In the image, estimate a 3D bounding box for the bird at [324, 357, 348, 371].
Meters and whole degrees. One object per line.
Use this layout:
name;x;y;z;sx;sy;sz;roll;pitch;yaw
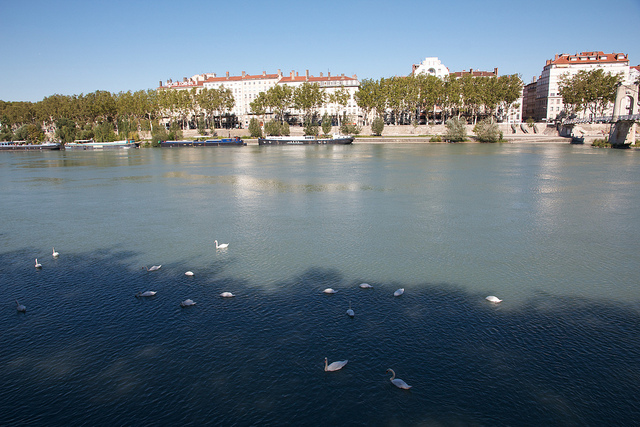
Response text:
bird;0.439;4.140;11.977;0.546;0.351;0.257;-13;22;-17

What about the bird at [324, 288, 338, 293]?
bird;0.410;2.703;15.364;0.473;0.112;0.206;-7;16;-21

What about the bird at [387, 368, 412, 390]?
bird;2.052;4.323;11.559;0.651;0.353;0.257;8;16;36

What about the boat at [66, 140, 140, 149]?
boat;-47.378;-15.393;97.631;12.774;1.511;3.128;-1;9;7

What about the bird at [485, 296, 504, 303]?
bird;5.864;2.874;14.758;0.539;0.148;0.258;2;16;12

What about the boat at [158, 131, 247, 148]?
boat;-26.043;-16.623;99.721;18.566;2.286;9.625;1;15;6

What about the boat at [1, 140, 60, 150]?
boat;-67.752;-15.934;102.787;17.513;2.527;3.182;1;13;11

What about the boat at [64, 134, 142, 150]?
boat;-48.607;-16.173;99.936;22.073;2.909;9.130;7;17;29

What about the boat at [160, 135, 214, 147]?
boat;-28.949;-17.616;104.931;10.793;1.408;17.110;3;15;14

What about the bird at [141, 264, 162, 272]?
bird;-6.603;2.141;17.286;0.537;0.140;0.310;-6;9;10

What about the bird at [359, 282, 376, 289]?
bird;1.736;2.555;15.872;0.590;0.145;0.530;0;15;4
